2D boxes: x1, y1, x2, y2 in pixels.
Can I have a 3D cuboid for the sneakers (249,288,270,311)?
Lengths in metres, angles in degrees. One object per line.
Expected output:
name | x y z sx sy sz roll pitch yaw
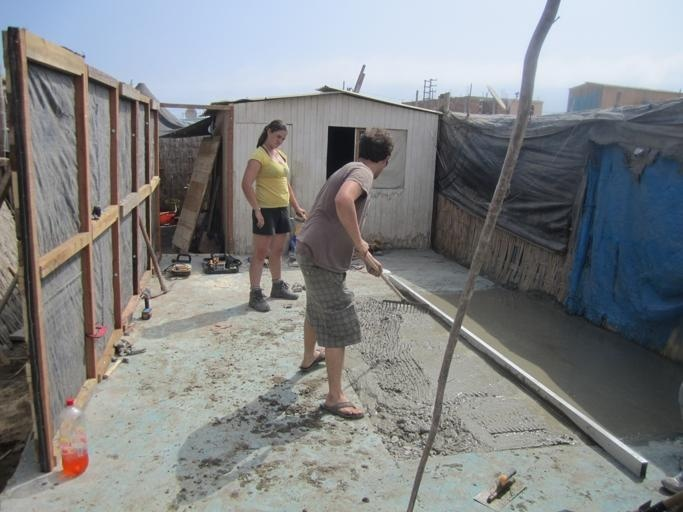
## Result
sneakers | -1.042 0.553 5.681 0.263 0.247 0.258 -1 17 -6

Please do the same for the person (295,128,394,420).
person | -0.010 0.140 3.691 0.689 2.251 0.813 -1 17 -6

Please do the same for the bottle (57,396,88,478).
bottle | -1.797 1.206 3.005 0.168 0.399 0.316 -11 20 -34

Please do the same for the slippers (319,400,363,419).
slippers | 0.004 1.213 3.666 0.286 0.087 0.138 3 7 28

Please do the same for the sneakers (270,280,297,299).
sneakers | -0.805 0.461 6.090 0.442 0.315 0.169 -2 7 -14

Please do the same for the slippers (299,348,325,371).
slippers | -0.284 1.017 4.321 0.110 0.088 0.310 2 22 26
